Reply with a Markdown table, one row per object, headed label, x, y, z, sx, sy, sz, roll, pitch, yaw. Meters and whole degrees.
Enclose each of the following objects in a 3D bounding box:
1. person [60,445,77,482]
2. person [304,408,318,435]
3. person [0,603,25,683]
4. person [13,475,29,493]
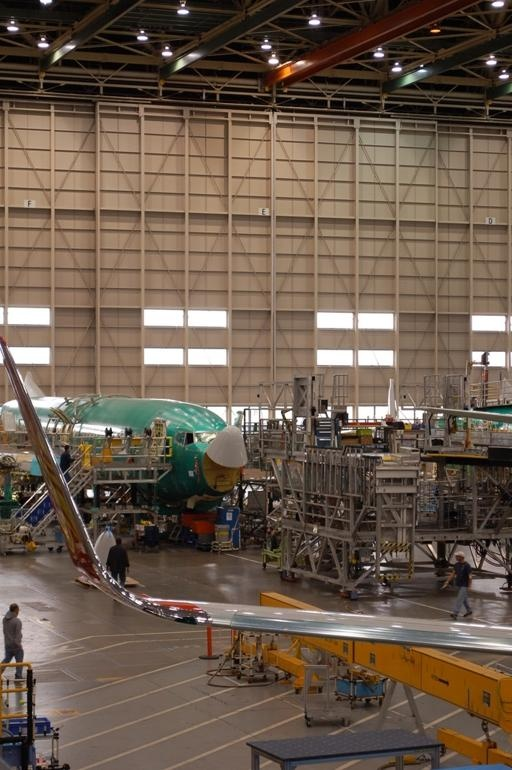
| label | x | y | z | sx | sy | sz | roll | pitch | yaw |
| --- | --- | --- | --- | --- | --- | --- | --- | --- | --- |
| person | -7.082 | 2.917 | 43.316 | 0.530 | 1.274 | 2.562 | 0 | 1 | -9 |
| person | 1.748 | 1.108 | 36.239 | 0.353 | 0.900 | 0.366 | 0 | 1 | 10 |
| person | -4.834 | 5.033 | 22.984 | 0.369 | 1.578 | 2.352 | 0 | 1 | -12 |
| person | -10.722 | 4.554 | 53.214 | 0.714 | 0.942 | 0.980 | 3 | -6 | -35 |
